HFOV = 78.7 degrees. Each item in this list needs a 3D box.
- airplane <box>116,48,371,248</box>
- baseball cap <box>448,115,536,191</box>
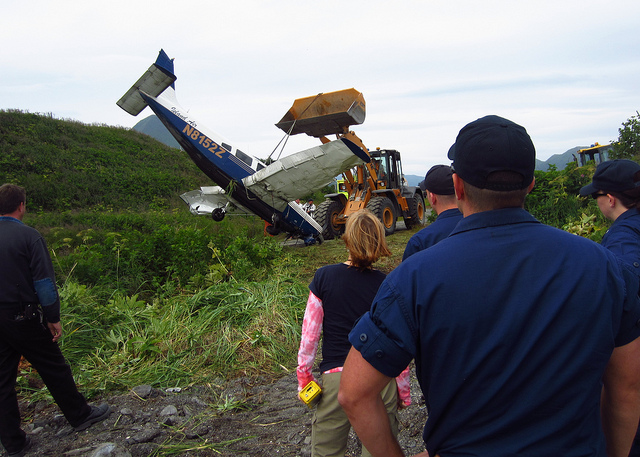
[{"bbox_3d":[-1.892,-1.675,8.973,4.548,1.802,5.139,36,-26,-25],"label":"airplane"},{"bbox_3d":[0.804,-0.397,1.845,0.406,0.255,0.510,9,31,14],"label":"baseball cap"}]
